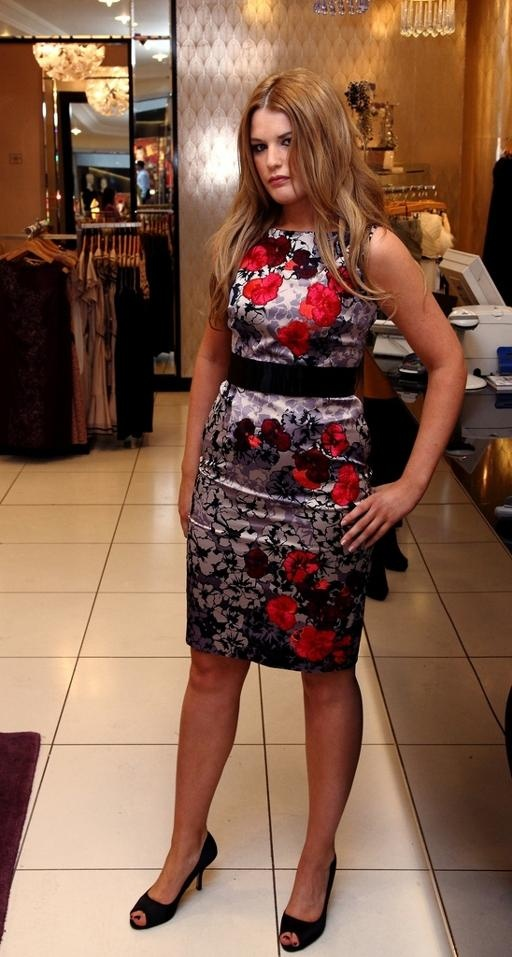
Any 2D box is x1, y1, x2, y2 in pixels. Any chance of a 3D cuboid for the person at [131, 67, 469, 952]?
[{"bbox_3d":[0.049,0.140,1.092,0.518,1.407,0.271,7,11,33],"label":"person"}]
